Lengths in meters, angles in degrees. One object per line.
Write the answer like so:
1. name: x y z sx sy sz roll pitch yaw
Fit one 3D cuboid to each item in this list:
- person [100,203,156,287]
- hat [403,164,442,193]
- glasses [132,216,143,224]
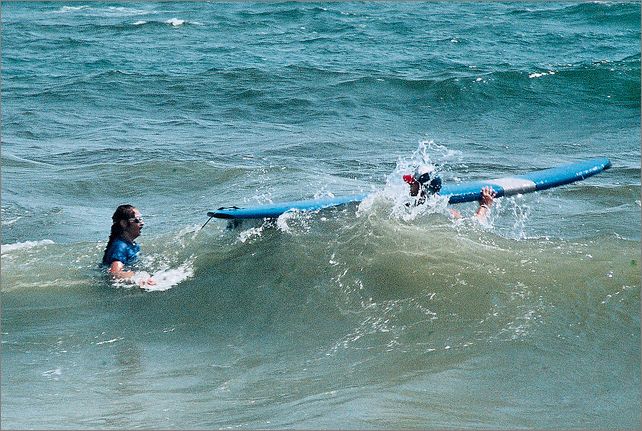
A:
1. person: -3.915 0.506 17.844 0.751 1.319 1.012 1 19 -11
2. hat: 2.197 -0.717 18.431 0.900 0.455 0.434 -3 32 32
3. glasses: -3.646 0.098 18.021 0.256 0.171 0.076 3 -11 -24
